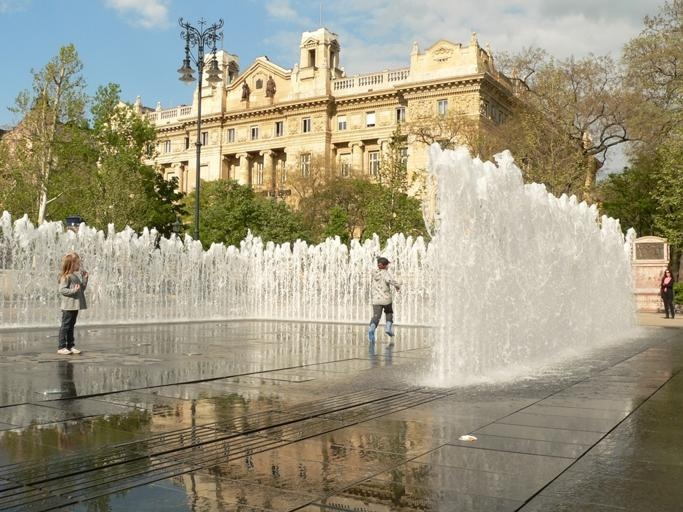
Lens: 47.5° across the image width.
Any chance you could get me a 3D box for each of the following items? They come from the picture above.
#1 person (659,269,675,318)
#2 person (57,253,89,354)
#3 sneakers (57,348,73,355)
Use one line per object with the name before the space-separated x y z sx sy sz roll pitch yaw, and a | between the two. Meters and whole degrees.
person | 10.413 1.188 24.747 0.452 1.460 1.714 2 3 22
person | -4.431 0.770 12.807 0.457 1.613 0.986 -1 3 -20
sneakers | -4.411 1.519 12.457 0.225 0.081 0.130 0 3 -18
